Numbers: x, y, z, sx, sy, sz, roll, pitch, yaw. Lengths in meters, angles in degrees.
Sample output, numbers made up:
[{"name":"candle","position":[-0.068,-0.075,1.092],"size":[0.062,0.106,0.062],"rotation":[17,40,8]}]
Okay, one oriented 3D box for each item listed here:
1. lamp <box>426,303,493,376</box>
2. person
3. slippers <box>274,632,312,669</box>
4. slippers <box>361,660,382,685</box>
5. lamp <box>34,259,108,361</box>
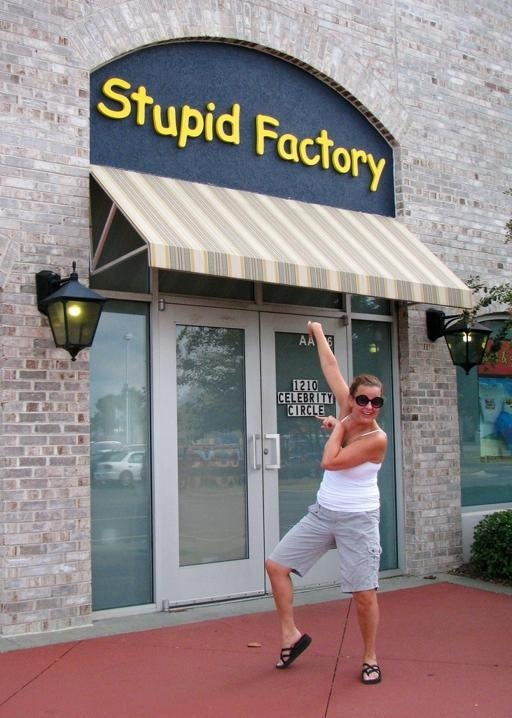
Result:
[{"name":"lamp","position":[2.263,-0.234,7.955],"size":[0.399,0.756,0.699],"rotation":[0,-5,-22]},{"name":"person","position":[0.418,0.835,4.355],"size":[0.629,2.189,0.591],"rotation":[-1,-5,-16]},{"name":"slippers","position":[0.224,1.812,4.400],"size":[0.143,0.370,0.139],"rotation":[24,37,-7]},{"name":"slippers","position":[0.683,1.858,4.210],"size":[0.122,0.128,0.147],"rotation":[-3,-5,7]},{"name":"lamp","position":[-1.418,-0.380,5.425],"size":[0.381,0.751,0.543],"rotation":[1,-6,-33]}]
